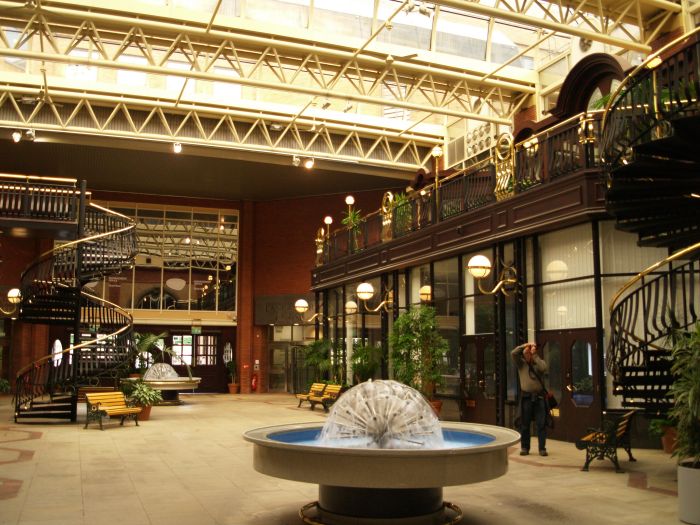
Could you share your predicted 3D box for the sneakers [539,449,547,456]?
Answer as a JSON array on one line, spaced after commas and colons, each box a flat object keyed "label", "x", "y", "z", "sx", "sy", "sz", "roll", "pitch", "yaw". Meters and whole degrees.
[{"label": "sneakers", "x": 3.600, "y": 3.538, "z": 11.278, "sx": 0.071, "sy": 0.074, "sz": 0.179, "roll": 0, "pitch": -15, "yaw": -3}]

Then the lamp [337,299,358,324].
[{"label": "lamp", "x": -0.066, "y": 1.737, "z": 21.716, "sx": 0.626, "sy": 1.007, "sz": 0.669, "roll": 3, "pitch": -4, "yaw": 1}]

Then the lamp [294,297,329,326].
[{"label": "lamp", "x": -1.834, "y": 2.056, "z": 27.139, "sx": 1.864, "sy": 0.901, "sz": 1.341, "roll": -9, "pitch": -22, "yaw": 40}]

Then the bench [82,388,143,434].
[{"label": "bench", "x": -6.283, "y": 3.831, "z": 15.832, "sx": 0.678, "sy": 0.846, "sz": 1.392, "roll": -2, "pitch": -8, "yaw": 24}]

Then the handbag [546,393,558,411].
[{"label": "handbag", "x": 3.773, "y": 2.601, "z": 11.329, "sx": 0.156, "sy": 0.286, "sz": 0.300, "roll": -5, "pitch": -14, "yaw": 20}]

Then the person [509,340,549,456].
[{"label": "person", "x": 3.428, "y": 2.562, "z": 11.404, "sx": 0.606, "sy": 2.038, "sz": 0.666, "roll": -4, "pitch": -13, "yaw": 19}]

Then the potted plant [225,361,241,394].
[{"label": "potted plant", "x": -5.959, "y": 5.749, "z": 30.510, "sx": 0.455, "sy": 1.584, "sz": 1.180, "roll": 8, "pitch": -15, "yaw": -33}]

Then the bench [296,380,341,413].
[{"label": "bench", "x": -0.896, "y": 4.344, "z": 19.733, "sx": 0.801, "sy": 0.908, "sz": 2.746, "roll": 4, "pitch": -14, "yaw": -16}]

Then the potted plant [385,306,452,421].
[{"label": "potted plant", "x": 2.057, "y": 2.681, "z": 16.374, "sx": 1.244, "sy": 3.546, "sz": 1.730, "roll": 6, "pitch": -19, "yaw": -24}]

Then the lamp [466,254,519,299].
[{"label": "lamp", "x": 3.233, "y": 0.285, "z": 13.731, "sx": 1.293, "sy": 1.276, "sz": 0.891, "roll": 2, "pitch": 1, "yaw": -3}]

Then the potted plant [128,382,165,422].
[{"label": "potted plant", "x": -5.951, "y": 4.030, "z": 17.479, "sx": 0.761, "sy": 0.999, "sz": 0.823, "roll": 5, "pitch": -9, "yaw": -36}]

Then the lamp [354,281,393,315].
[{"label": "lamp", "x": 0.603, "y": 1.095, "z": 18.927, "sx": 0.564, "sy": 1.129, "sz": 1.812, "roll": -9, "pitch": -17, "yaw": 34}]

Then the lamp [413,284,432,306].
[{"label": "lamp", "x": 2.138, "y": 0.934, "z": 17.564, "sx": 0.441, "sy": 0.525, "sz": 0.446, "roll": 1, "pitch": 2, "yaw": -38}]
